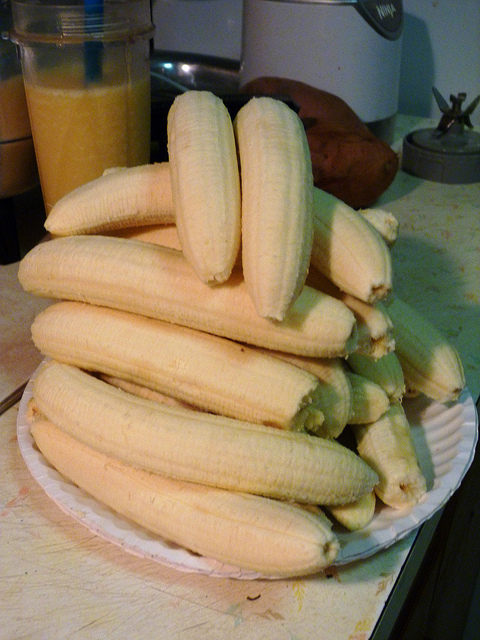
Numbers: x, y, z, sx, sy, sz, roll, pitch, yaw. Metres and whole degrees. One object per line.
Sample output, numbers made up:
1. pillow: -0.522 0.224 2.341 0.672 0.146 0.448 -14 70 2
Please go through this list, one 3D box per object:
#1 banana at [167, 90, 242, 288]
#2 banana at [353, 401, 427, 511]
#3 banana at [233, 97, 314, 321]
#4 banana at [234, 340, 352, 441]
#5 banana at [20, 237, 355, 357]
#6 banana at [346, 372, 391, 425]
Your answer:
1. banana: -0.029 -0.098 0.450 0.041 0.192 0.048 -16 -22 29
2. banana: 0.130 0.119 0.483 0.030 0.037 0.107 15 27 -10
3. banana: 0.025 -0.106 0.451 0.046 0.200 0.050 -12 -19 27
4. banana: 0.046 0.061 0.496 0.099 0.045 0.069 21 50 2
5. banana: -0.069 -0.046 0.490 0.274 0.103 0.074 9 -1 6
6. banana: 0.124 0.064 0.512 0.052 0.025 0.042 14 19 -7
